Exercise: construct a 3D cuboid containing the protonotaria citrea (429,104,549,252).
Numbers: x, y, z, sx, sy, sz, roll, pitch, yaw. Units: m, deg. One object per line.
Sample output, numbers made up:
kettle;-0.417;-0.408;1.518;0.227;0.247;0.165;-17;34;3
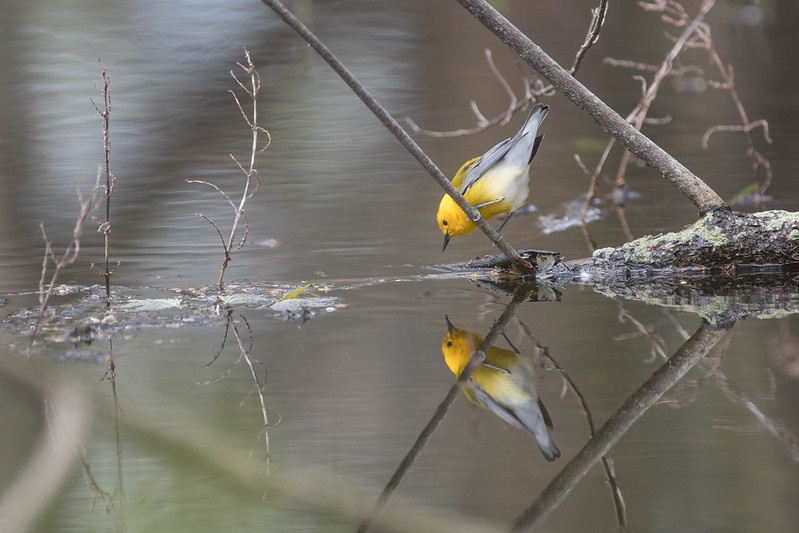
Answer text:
protonotaria citrea;0.675;-0.654;6.315;0.740;1.044;0.464;1;14;0
